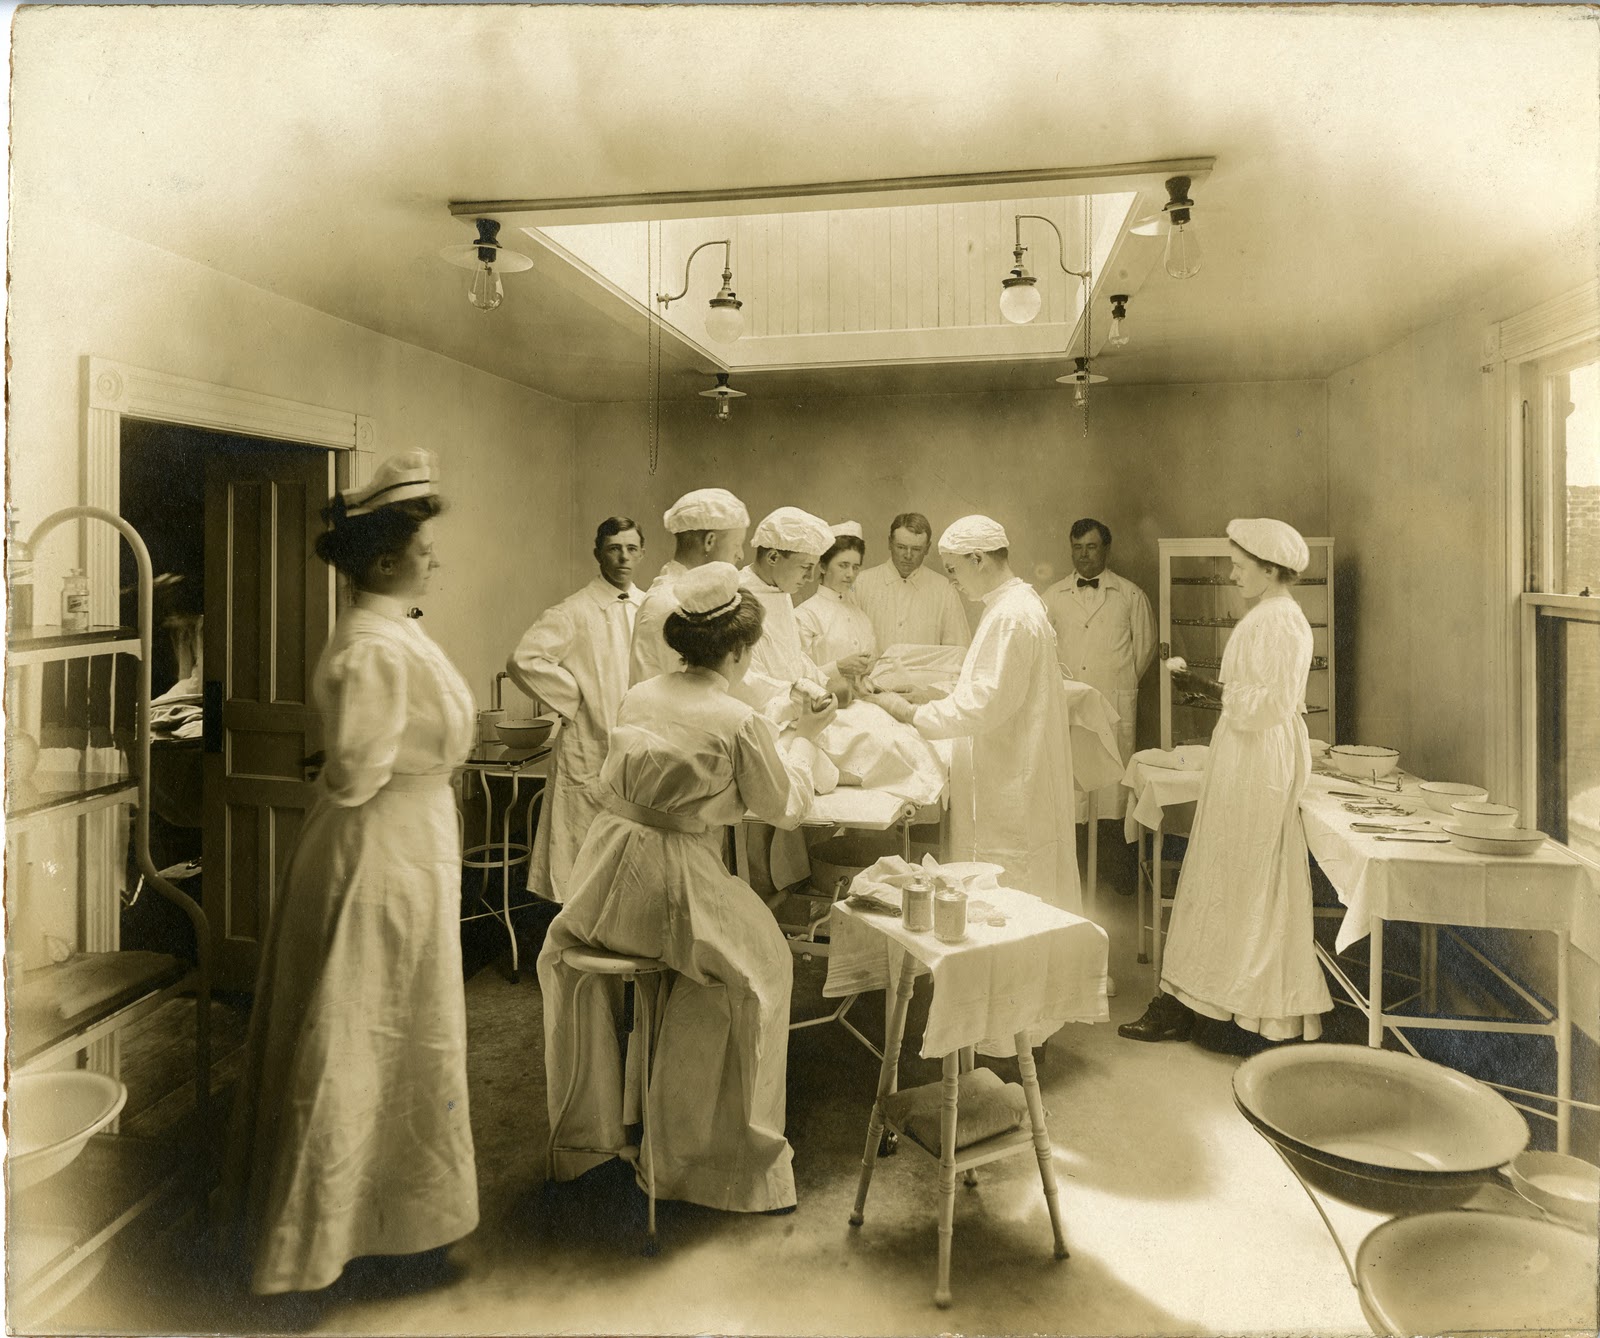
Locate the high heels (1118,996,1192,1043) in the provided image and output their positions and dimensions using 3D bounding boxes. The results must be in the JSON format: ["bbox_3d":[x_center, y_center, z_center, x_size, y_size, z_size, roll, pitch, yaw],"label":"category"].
[{"bbox_3d":[0.938,0.936,4.591,0.191,0.093,0.092,1,-4,2],"label":"high heels"}]

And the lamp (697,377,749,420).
[{"bbox_3d":[-0.198,-0.675,4.241,0.094,0.106,0.100,-4,13,-2],"label":"lamp"}]

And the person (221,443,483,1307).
[{"bbox_3d":[-0.970,0.454,3.805,0.474,1.861,0.225,0,2,-15],"label":"person"}]

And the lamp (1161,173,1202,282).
[{"bbox_3d":[0.899,-1.051,4.146,0.098,0.257,0.309,1,2,12],"label":"lamp"}]

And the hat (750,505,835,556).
[{"bbox_3d":[-0.025,-0.359,4.445,0.118,0.081,0.160,0,-1,32],"label":"hat"}]

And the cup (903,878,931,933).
[{"bbox_3d":[0.259,0.538,3.878,0.063,0.103,0.073,0,2,2],"label":"cup"}]

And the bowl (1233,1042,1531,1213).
[{"bbox_3d":[1.218,0.942,3.608,0.370,0.121,0.399,-3,22,1],"label":"bowl"}]

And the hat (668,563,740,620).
[{"bbox_3d":[-0.202,-0.184,3.979,0.190,0.129,0.104,-1,3,-41],"label":"hat"}]

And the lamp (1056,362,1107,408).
[{"bbox_3d":[0.674,-0.693,4.139,0.115,0.113,0.030,1,2,8],"label":"lamp"}]

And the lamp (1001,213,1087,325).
[{"bbox_3d":[0.586,-0.972,4.130,0.220,0.287,0.159,1,2,7],"label":"lamp"}]

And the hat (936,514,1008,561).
[{"bbox_3d":[0.425,-0.334,4.354,0.129,0.098,0.095,3,9,25],"label":"hat"}]

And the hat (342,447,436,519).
[{"bbox_3d":[-0.901,-0.410,3.752,0.165,0.094,0.125,-9,5,8],"label":"hat"}]

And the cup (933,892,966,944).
[{"bbox_3d":[0.327,0.550,3.802,0.086,0.132,0.086,0,-4,0],"label":"cup"}]

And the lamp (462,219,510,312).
[{"bbox_3d":[-0.775,-0.994,4.215,0.074,0.239,0.228,0,2,-9],"label":"lamp"}]

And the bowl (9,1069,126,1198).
[{"bbox_3d":[-1.663,0.987,3.806,0.252,0.099,0.277,1,4,-7],"label":"bowl"}]
